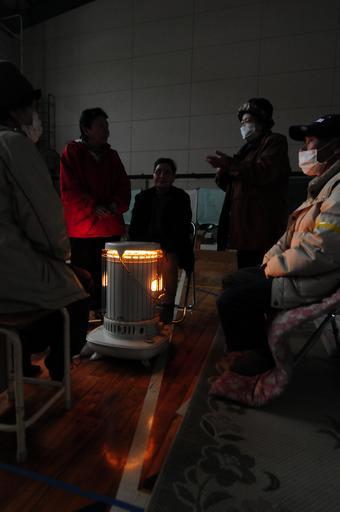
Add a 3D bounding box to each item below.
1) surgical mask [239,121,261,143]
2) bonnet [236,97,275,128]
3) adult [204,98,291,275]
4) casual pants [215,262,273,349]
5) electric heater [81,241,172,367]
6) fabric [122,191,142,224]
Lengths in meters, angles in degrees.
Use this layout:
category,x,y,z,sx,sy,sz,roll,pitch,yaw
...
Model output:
category,x,y,z,sx,sy,sz,roll,pitch,yaw
surgical mask,0.532,-0.807,2.620,0.117,0.077,0.106,-22,14,-3
bonnet,0.532,-0.934,2.565,0.230,0.131,0.172,11,-7,31
adult,0.488,-0.358,2.630,0.516,1.256,0.511,0,5,-15
casual pants,0.331,0.249,1.904,0.246,0.413,0.140,-7,20,-13
electric heater,-0.192,0.217,2.499,0.621,0.785,0.631,2,7,10
fabric,-0.710,-0.854,7.254,0.188,0.716,0.798,7,2,-23
